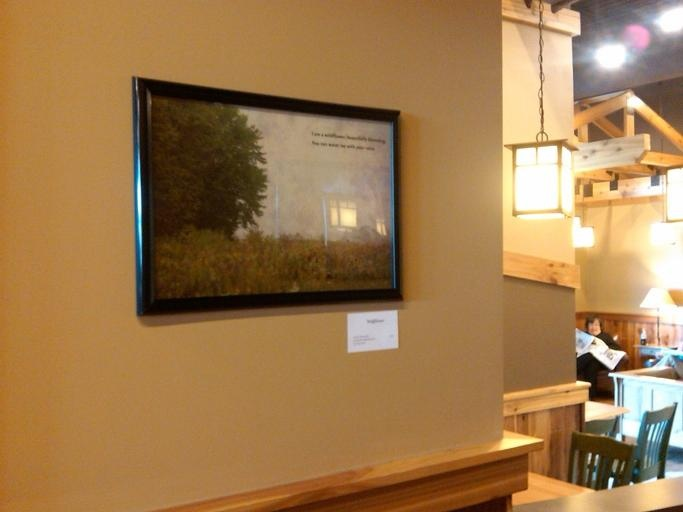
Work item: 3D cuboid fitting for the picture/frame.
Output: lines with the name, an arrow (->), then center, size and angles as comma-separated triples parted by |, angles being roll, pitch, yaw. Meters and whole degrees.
picture/frame -> -0.261, -0.186, 2.083 | 0.691, 0.590, 0.033 | -1, 1, -25

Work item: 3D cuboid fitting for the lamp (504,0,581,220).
lamp -> 1.141, -0.863, 3.757 | 0.344, 1.331, 0.508 | 4, -2, 21

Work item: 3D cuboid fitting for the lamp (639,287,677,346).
lamp -> 4.212, 0.785, 8.997 | 0.424, 0.761, 0.765 | 4, -2, 27

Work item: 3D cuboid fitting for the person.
person -> 3.073, 1.215, 7.966 | 0.708, 1.016, 0.808 | 1, -10, 8
